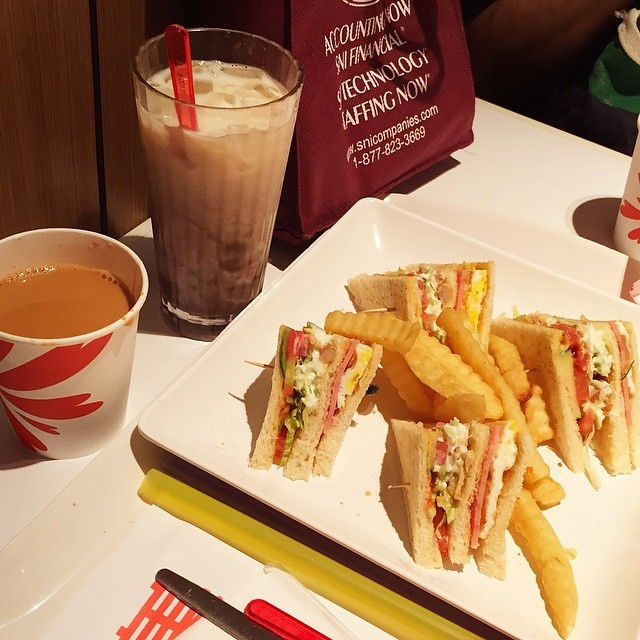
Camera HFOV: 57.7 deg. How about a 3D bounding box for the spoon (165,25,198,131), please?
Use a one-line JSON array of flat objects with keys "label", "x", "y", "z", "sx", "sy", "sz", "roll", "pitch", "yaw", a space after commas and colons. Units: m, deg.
[{"label": "spoon", "x": -0.203, "y": -0.366, "z": 0.852, "sx": 0.033, "sy": 0.129, "sz": 0.128, "roll": -8, "pitch": 40, "yaw": -10}]
